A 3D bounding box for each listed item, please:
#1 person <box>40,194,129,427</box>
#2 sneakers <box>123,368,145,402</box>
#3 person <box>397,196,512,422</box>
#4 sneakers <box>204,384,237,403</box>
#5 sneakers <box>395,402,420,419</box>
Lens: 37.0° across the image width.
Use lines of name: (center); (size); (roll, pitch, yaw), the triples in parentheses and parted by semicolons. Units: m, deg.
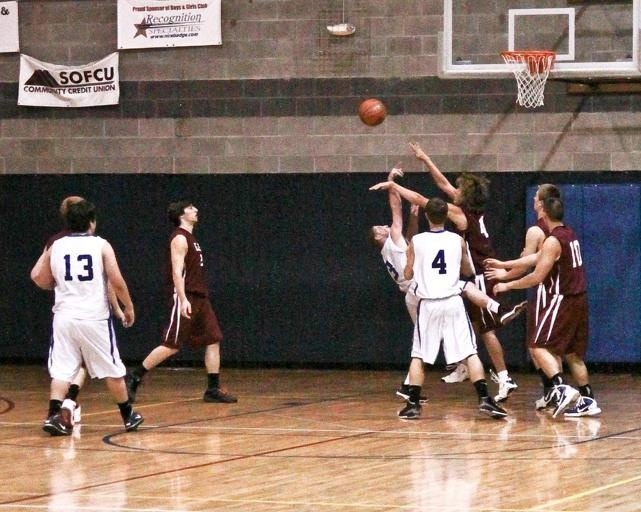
person: (-1.901, 0.506, 7.781); (0.836, 1.894, 0.480); (0, 8, 6)
sneakers: (-1.777, 1.220, 9.210); (0.271, 0.407, 0.132); (-5, -2, 27)
person: (1.071, 0.471, 8.205); (0.796, 1.896, 0.333); (0, 8, 9)
sneakers: (-0.987, 1.356, 9.395); (0.375, 0.178, 0.142); (1, -1, 9)
sneakers: (0.764, 1.345, 8.364); (0.111, 0.145, 0.204); (-1, 6, -22)
